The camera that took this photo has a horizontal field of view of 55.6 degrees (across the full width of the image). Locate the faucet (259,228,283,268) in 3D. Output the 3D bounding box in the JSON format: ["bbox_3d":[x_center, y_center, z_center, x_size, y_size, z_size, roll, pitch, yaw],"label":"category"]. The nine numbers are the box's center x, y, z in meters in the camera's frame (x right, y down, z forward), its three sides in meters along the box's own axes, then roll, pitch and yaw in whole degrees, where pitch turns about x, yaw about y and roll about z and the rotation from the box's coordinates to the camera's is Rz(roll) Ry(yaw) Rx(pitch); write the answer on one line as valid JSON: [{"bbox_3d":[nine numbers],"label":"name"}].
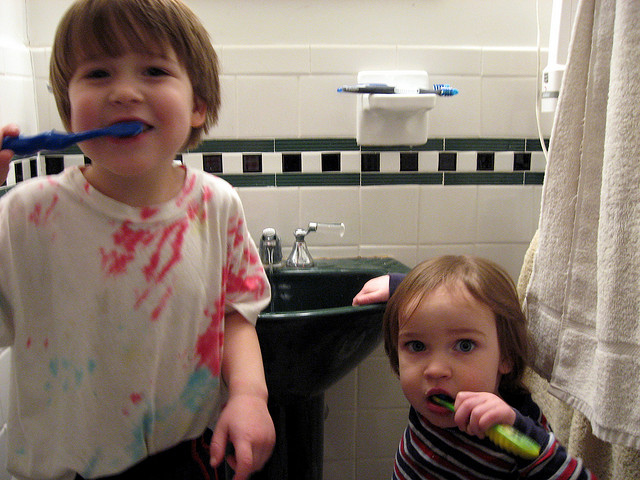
[{"bbox_3d":[-0.121,0.019,1.598,0.059,0.103,0.059,-3,11,11],"label":"faucet"}]

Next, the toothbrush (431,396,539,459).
[{"bbox_3d":[0.274,0.320,1.016,0.179,0.031,0.054,35,54,22],"label":"toothbrush"}]

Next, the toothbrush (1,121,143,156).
[{"bbox_3d":[-0.350,-0.145,0.865,0.190,0.038,0.034,-3,10,1],"label":"toothbrush"}]

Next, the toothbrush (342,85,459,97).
[{"bbox_3d":[0.203,-0.380,1.535,0.263,0.034,0.038,2,6,-3],"label":"toothbrush"}]
